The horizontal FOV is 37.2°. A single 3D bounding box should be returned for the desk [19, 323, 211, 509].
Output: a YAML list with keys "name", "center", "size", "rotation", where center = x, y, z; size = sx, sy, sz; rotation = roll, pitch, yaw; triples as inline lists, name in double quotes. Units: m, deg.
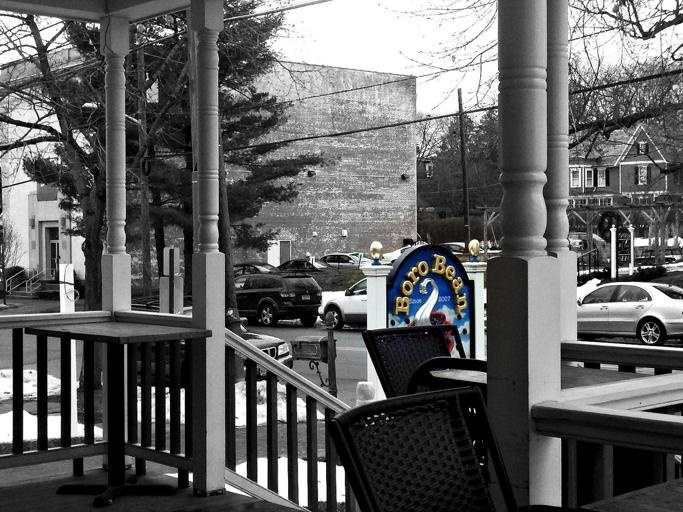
- name: "desk"
  center: [-1.663, 1.150, 7.997]
  size: [1.311, 1.388, 1.373]
  rotation: [4, -6, -41]

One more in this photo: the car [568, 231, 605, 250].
- name: "car"
  center: [10.404, -0.571, 43.122]
  size: [1.875, 1.000, 1.200]
  rotation: [-4, 1, 6]
